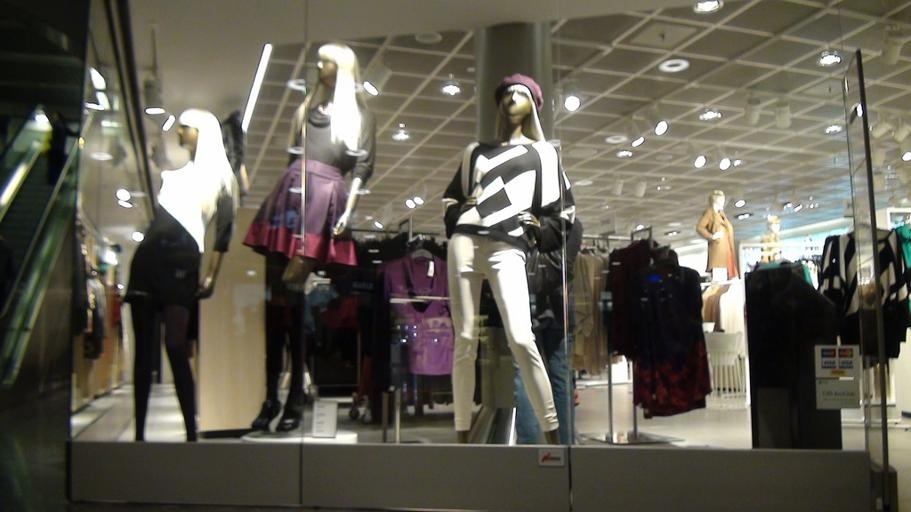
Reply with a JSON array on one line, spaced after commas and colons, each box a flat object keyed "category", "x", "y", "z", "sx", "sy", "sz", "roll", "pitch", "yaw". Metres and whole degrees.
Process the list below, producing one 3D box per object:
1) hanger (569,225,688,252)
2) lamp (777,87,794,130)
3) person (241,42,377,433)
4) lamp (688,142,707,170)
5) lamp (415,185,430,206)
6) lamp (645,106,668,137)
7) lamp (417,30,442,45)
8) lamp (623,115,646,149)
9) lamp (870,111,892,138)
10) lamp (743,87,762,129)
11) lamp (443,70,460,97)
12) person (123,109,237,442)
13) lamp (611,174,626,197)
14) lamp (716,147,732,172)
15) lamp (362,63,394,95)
[{"category": "hanger", "x": 1.302, "y": -0.123, "z": 5.209, "sx": 0.721, "sy": 0.187, "sz": 0.021, "roll": -1, "pitch": -11, "yaw": -1}, {"category": "lamp", "x": 2.431, "y": -1.069, "z": 5.218, "sx": 0.110, "sy": 0.247, "sz": 0.052, "roll": -5, "pitch": -11, "yaw": 22}, {"category": "person", "x": -1.092, "y": -0.141, "z": 5.323, "sx": 0.981, "sy": 2.875, "sz": 0.355, "roll": -6, "pitch": -12, "yaw": 26}, {"category": "lamp", "x": 1.810, "y": -0.743, "z": 5.256, "sx": 0.109, "sy": 0.241, "sz": 0.107, "roll": -15, "pitch": -41, "yaw": -2}, {"category": "lamp", "x": -0.250, "y": -0.453, "z": 5.296, "sx": 0.098, "sy": 0.158, "sz": 0.038, "roll": 11, "pitch": 3, "yaw": 7}, {"category": "lamp", "x": 1.516, "y": -1.012, "z": 5.268, "sx": 0.165, "sy": 0.221, "sz": 0.048, "roll": 1, "pitch": -11, "yaw": -12}, {"category": "lamp", "x": -0.190, "y": -1.638, "z": 5.295, "sx": 0.118, "sy": 0.027, "sz": 0.121, "roll": -5, "pitch": -8, "yaw": 28}, {"category": "lamp", "x": 1.348, "y": -0.919, "z": 5.267, "sx": 0.147, "sy": 0.221, "sz": 0.046, "roll": 2, "pitch": -11, "yaw": -16}, {"category": "lamp", "x": 3.287, "y": -0.997, "z": 5.458, "sx": 0.086, "sy": 0.247, "sz": 0.104, "roll": -1, "pitch": -11, "yaw": -4}, {"category": "lamp", "x": 2.211, "y": -1.096, "z": 5.232, "sx": 0.112, "sy": 0.253, "sz": 0.054, "roll": 0, "pitch": -11, "yaw": -6}, {"category": "lamp", "x": -0.028, "y": -1.270, "z": 5.203, "sx": 0.148, "sy": 0.153, "sz": 0.147, "roll": 1, "pitch": -6, "yaw": 6}, {"category": "person", "x": -2.043, "y": 0.149, "z": 5.388, "sx": 0.893, "sy": 2.489, "sz": 0.381, "roll": -3, "pitch": -11, "yaw": 14}, {"category": "lamp", "x": 1.207, "y": -0.521, "z": 5.242, "sx": 0.107, "sy": 0.189, "sz": 0.104, "roll": 10, "pitch": -32, "yaw": 16}, {"category": "lamp", "x": 2.003, "y": -0.719, "z": 5.252, "sx": 0.123, "sy": 0.169, "sz": 0.045, "roll": -2, "pitch": -11, "yaw": 8}, {"category": "lamp", "x": -0.586, "y": -1.337, "z": 5.338, "sx": 0.213, "sy": 0.231, "sz": 0.051, "roll": -4, "pitch": -11, "yaw": 16}]
